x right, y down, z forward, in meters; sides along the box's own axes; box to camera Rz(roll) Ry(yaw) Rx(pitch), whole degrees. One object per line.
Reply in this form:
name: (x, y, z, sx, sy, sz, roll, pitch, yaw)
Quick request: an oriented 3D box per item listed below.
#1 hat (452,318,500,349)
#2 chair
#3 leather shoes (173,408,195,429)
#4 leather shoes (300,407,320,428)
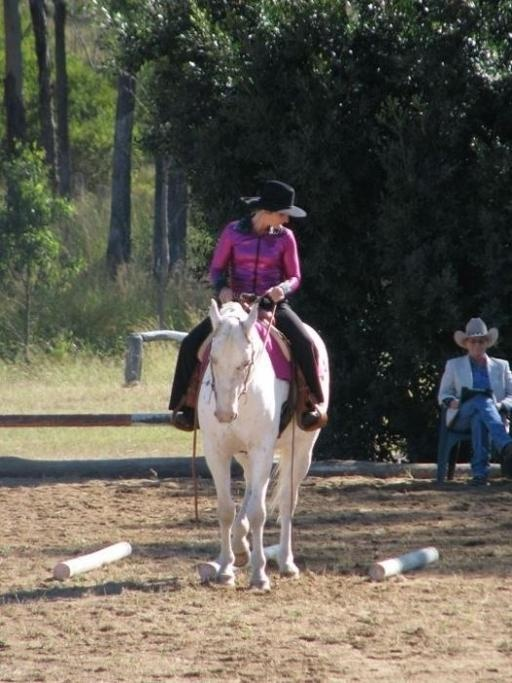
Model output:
hat: (2.415, -0.099, 18.018, 0.275, 0.180, 0.399, 0, -29, 3)
chair: (2.420, 1.172, 18.363, 0.689, 1.249, 0.734, 1, -2, 14)
leather shoes: (-0.654, 0.702, 14.892, 0.127, 0.269, 0.213, 2, 8, 12)
leather shoes: (0.488, 0.691, 14.766, 0.124, 0.221, 0.180, 16, 32, 19)
